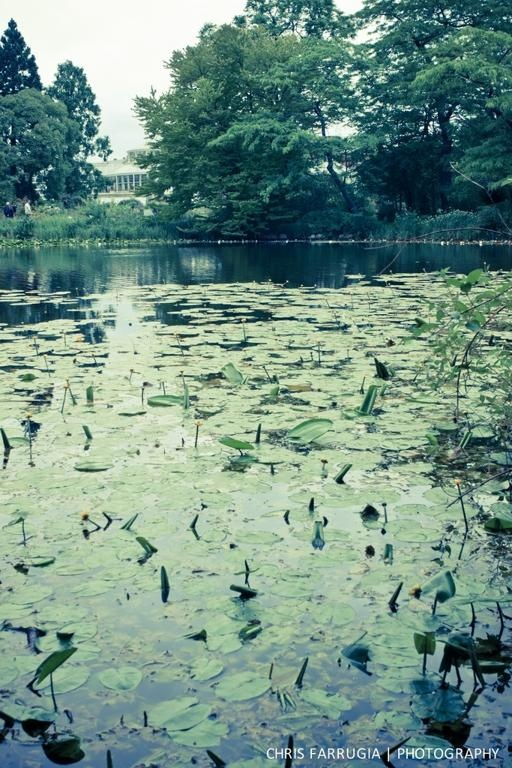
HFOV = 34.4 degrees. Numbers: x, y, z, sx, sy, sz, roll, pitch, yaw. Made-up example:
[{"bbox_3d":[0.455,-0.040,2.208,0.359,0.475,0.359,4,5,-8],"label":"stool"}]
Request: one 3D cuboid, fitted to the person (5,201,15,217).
[{"bbox_3d":[-10.455,-7.434,34.856,0.377,0.617,1.150,-5,13,-16],"label":"person"}]
